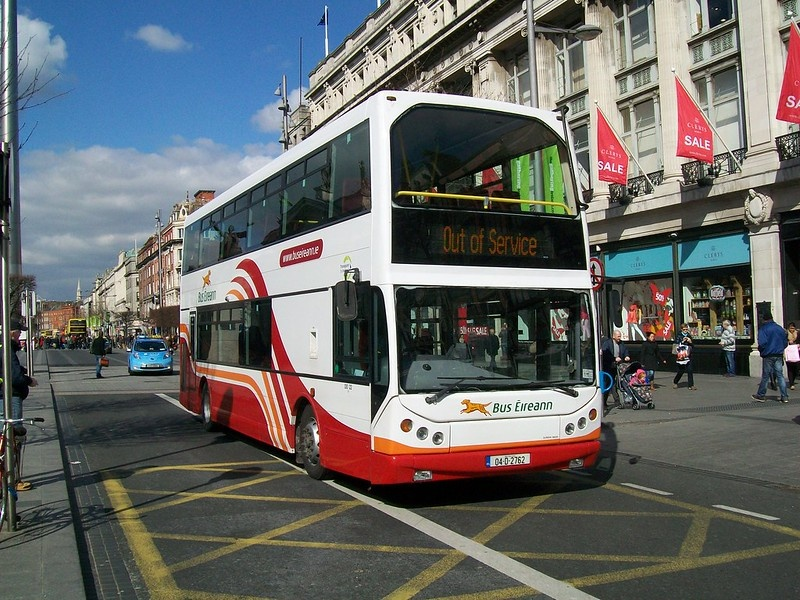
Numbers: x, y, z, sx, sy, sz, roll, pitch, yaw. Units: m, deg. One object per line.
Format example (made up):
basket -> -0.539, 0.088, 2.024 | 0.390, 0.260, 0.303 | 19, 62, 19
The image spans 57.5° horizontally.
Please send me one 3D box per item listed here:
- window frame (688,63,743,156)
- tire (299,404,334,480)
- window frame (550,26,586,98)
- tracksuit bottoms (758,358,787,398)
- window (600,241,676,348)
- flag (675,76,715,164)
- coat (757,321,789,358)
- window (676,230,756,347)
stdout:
window frame -> 10.801, -6.224, 24.909 | 1.902, 3.949, 0.234 | -10, -31, 31
tire -> -1.223, 2.088, 10.787 | 0.313, 1.140, 0.909 | 6, 10, -26
window frame -> 7.410, -10.312, 31.670 | 0.132, 2.571, 1.982 | -10, 4, -27
tracksuit bottoms -> 9.055, 1.870, 17.675 | 0.598, 1.036, 0.866 | -4, -4, 40
window -> 8.485, 0.019, 28.100 | 3.497, 3.946, 2.098 | -1, 0, -20
flag -> 9.455, -5.857, 23.503 | 1.240, 2.698, 0.562 | -1, -3, -15
coat -> 9.008, 0.931, 17.607 | 0.592, 0.903, 0.342 | -3, -4, 22
window -> 10.560, -0.261, 24.717 | 2.454, 3.941, 0.264 | -4, -16, 25
